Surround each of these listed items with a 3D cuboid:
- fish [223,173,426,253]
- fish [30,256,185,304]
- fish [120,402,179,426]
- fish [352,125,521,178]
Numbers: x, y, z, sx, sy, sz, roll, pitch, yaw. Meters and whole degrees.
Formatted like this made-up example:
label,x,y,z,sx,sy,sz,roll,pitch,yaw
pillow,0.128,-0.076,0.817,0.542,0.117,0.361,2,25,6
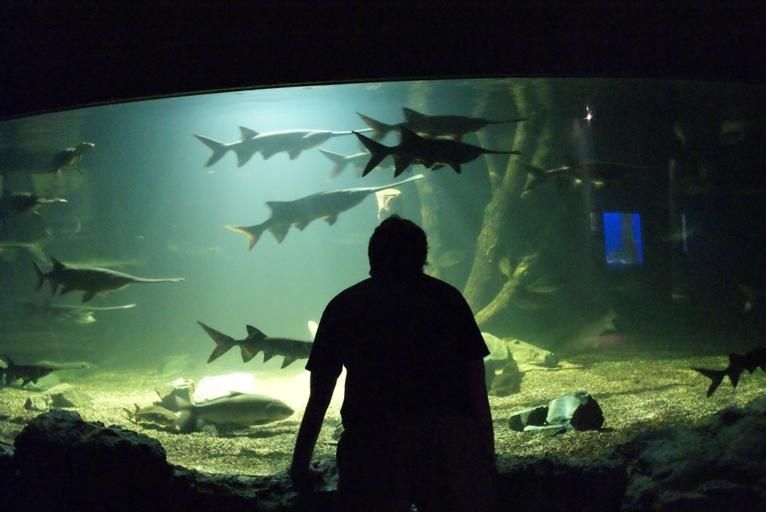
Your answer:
label,x,y,z,sx,sy,sz,roll,pitch,yaw
fish,-1.261,-0.984,14.878,4.218,0.834,0.310,-15,-14,20
fish,-5.744,0.450,14.211,1.687,0.907,2.023,5,-10,-21
fish,-4.376,2.984,13.810,1.080,0.357,0.438,0,-10,9
fish,0.614,-1.674,11.697,1.925,0.822,0.395,1,-10,-1
